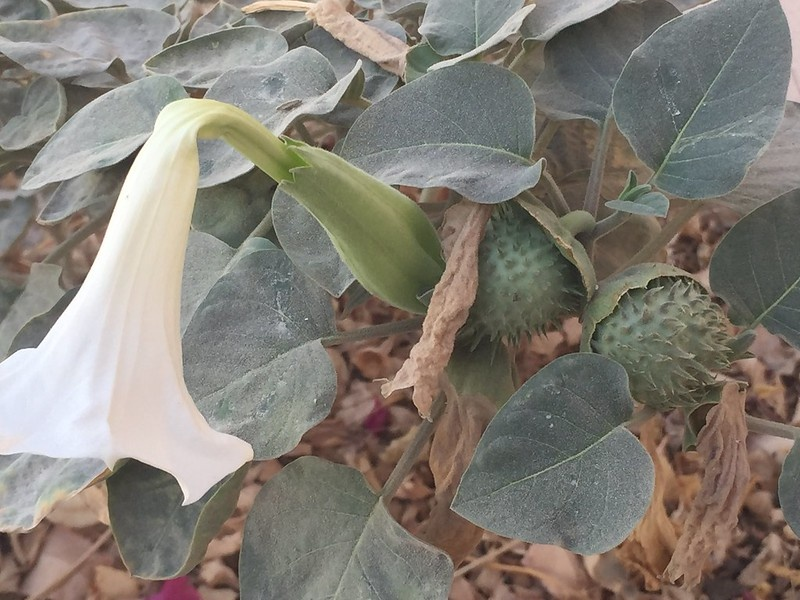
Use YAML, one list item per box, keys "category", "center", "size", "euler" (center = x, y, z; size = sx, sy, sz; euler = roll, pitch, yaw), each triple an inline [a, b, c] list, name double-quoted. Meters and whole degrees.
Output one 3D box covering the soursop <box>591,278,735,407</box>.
- category: "soursop"
  center: [0.244, 0.038, 0.777]
  size: [0.116, 0.110, 0.124]
  euler: [-5, 61, 9]
